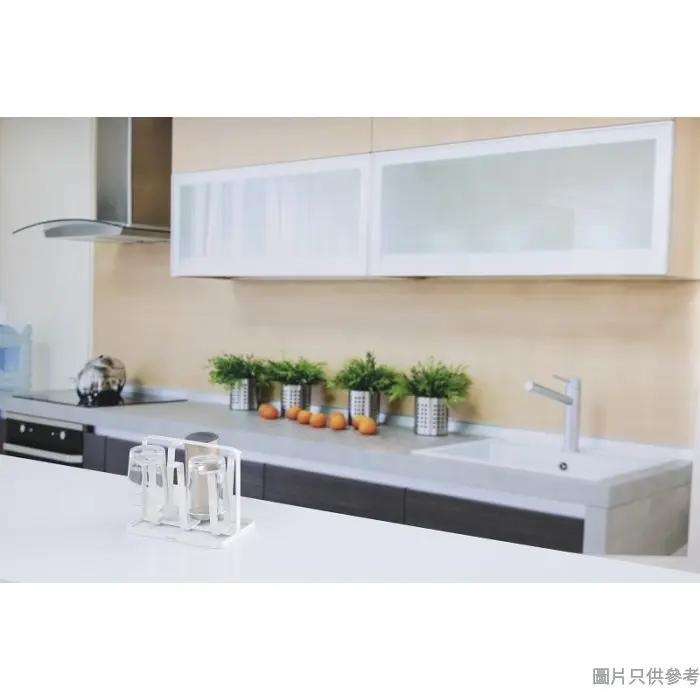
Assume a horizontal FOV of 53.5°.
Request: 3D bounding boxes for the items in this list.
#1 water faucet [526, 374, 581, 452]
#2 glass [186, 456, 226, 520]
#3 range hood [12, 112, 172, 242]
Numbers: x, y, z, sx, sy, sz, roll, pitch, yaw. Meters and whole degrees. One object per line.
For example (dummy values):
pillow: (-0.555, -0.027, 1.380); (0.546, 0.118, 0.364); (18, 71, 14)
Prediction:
water faucet: (0.710, 0.223, 2.425); (0.269, 0.281, 0.076); (9, -8, -34)
glass: (-0.303, 0.296, 1.444); (0.071, 0.124, 0.071); (9, -18, -28)
range hood: (-1.348, -0.988, 3.828); (0.500, 0.711, 0.645); (3, 9, 21)
